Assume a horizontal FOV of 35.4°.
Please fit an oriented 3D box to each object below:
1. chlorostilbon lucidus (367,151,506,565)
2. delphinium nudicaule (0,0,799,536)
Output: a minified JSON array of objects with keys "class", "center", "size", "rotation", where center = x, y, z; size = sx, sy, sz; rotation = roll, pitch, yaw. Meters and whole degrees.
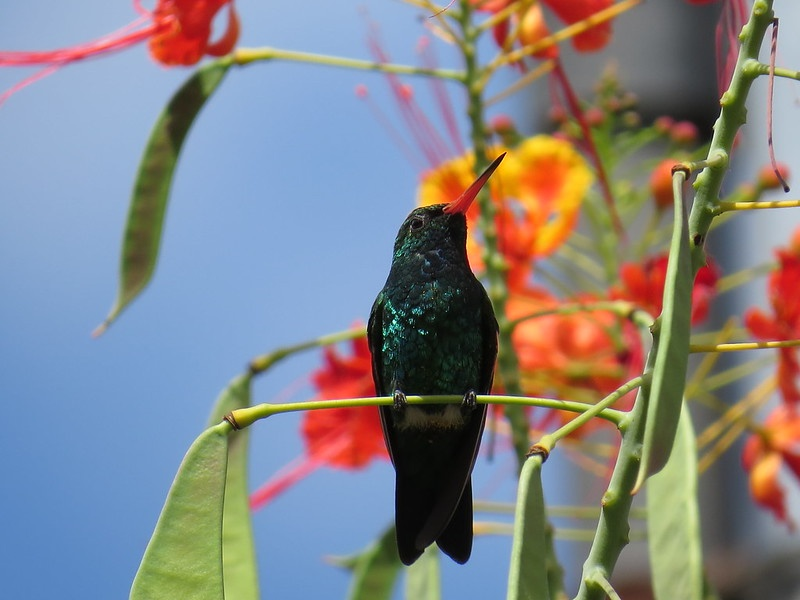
[{"class":"chlorostilbon lucidus","center":[0.046,0.094,1.892],"size":[0.184,0.268,0.654],"rotation":[-2,-71,-7]},{"class":"delphinium nudicaule","center":[-0.100,-0.154,1.829],"size":[0.993,0.852,0.518],"rotation":[9,-31,-7]}]
